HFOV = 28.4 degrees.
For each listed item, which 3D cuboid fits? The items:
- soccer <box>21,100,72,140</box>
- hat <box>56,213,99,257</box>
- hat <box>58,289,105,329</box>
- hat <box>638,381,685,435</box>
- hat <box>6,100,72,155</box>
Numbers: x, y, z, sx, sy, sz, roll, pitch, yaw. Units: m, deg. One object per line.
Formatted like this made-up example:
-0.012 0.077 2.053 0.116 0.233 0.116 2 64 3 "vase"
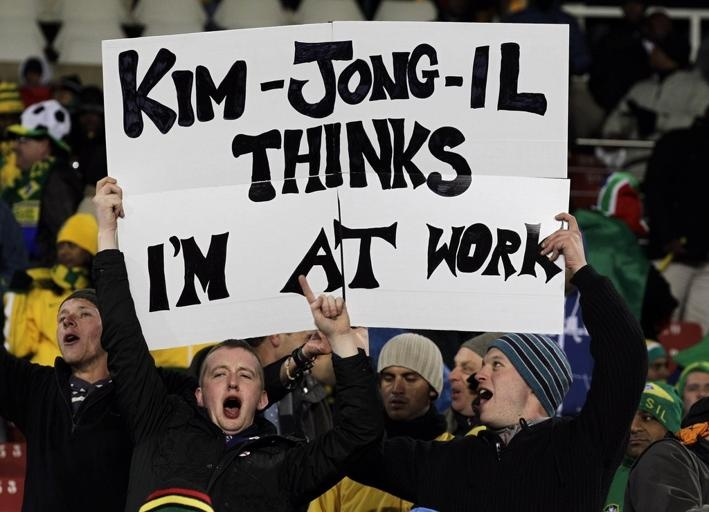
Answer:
-3.021 -1.393 13.917 0.461 0.377 0.407 -8 52 -28 "soccer"
-2.355 -0.178 11.944 0.333 0.328 0.496 -2 5 -13 "hat"
-1.811 0.321 9.213 0.257 0.181 0.253 -2 5 -9 "hat"
2.171 1.079 9.903 0.275 0.305 0.214 1 5 22 "hat"
-3.035 -1.315 13.765 0.592 0.418 0.437 19 5 -1 "hat"
